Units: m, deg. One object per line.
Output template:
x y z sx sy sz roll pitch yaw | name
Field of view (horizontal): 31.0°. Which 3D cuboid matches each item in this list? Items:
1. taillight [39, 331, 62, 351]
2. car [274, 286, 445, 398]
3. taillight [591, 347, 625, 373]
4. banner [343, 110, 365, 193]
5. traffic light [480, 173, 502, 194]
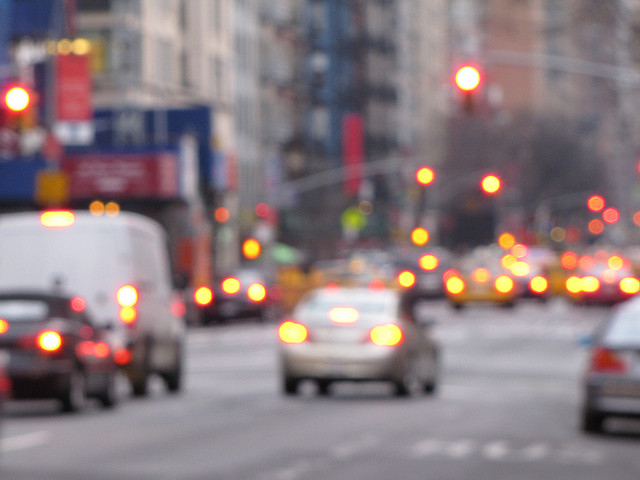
-3.271 1.226 13.964 0.261 0.219 0.134 -10 10 -43 | taillight
0.533 1.345 18.017 2.050 1.394 4.220 2 4 5 | car
3.049 1.291 12.332 0.286 0.271 0.085 4 -15 19 | taillight
0.324 -0.962 12.374 0.229 0.974 0.234 -1 1 -20 | banner
3.887 -1.338 26.907 0.478 0.469 0.112 0 -17 -19 | traffic light
